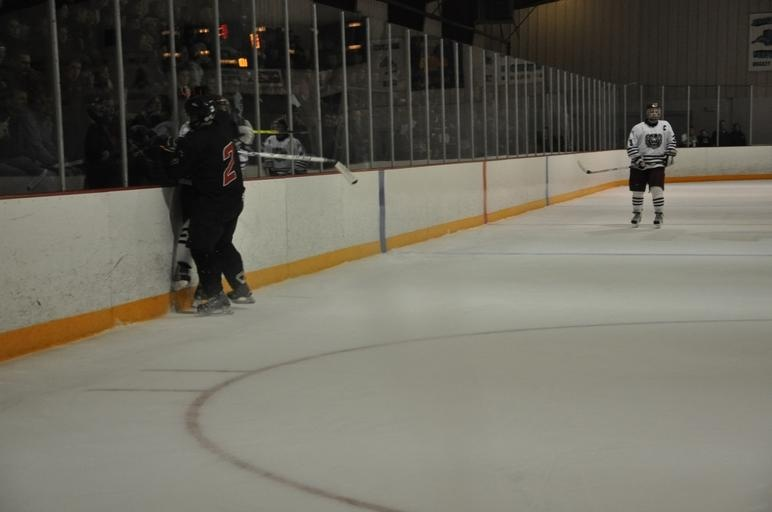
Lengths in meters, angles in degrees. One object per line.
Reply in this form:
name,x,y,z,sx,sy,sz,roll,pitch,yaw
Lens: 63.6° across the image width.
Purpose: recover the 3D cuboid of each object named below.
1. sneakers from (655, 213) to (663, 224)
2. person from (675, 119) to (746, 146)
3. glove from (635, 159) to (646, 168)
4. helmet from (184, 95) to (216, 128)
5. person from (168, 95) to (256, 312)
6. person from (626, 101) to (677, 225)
sneakers,5.417,-0.723,12.383,0.151,0.223,0.269,2,9,18
person,13.461,-4.940,25.485,2.571,0.924,0.431,-1,9,2
glove,5.115,-1.837,12.503,0.128,0.171,0.165,9,4,31
helmet,-1.931,-1.542,6.581,0.264,0.364,0.355,4,28,9
person,-1.816,-0.553,6.575,0.688,2.244,0.534,-3,9,-13
person,5.298,-1.799,12.463,0.856,2.406,0.645,2,9,22
